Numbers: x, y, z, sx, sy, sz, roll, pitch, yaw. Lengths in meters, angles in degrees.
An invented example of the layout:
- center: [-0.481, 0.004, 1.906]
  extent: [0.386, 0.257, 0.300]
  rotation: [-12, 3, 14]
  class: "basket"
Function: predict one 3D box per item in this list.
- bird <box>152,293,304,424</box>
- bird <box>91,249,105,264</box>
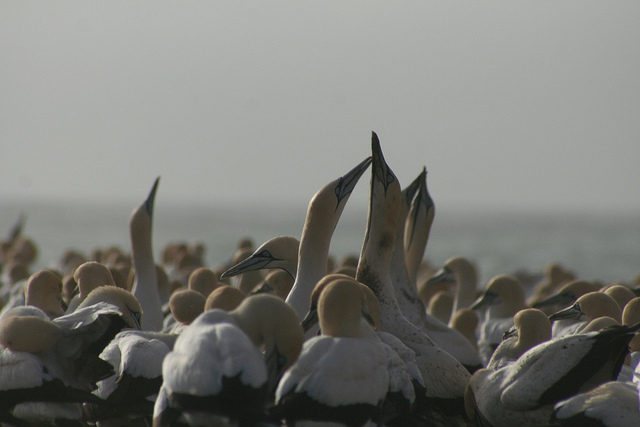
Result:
- center: [-1.014, 1.766, 18.396]
  extent: [2.498, 1.179, 0.821]
  rotation: [-25, -16, 27]
  class: "bird"
- center: [-3.514, 0.715, 24.173]
  extent: [0.186, 0.095, 0.189]
  rotation: [-2, 4, -14]
  class: "bird"
